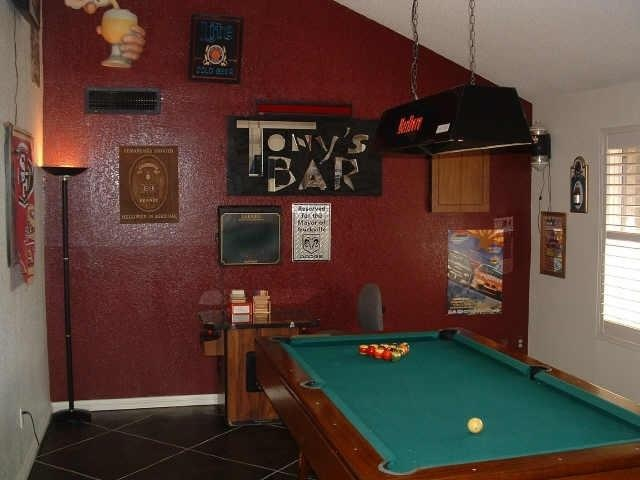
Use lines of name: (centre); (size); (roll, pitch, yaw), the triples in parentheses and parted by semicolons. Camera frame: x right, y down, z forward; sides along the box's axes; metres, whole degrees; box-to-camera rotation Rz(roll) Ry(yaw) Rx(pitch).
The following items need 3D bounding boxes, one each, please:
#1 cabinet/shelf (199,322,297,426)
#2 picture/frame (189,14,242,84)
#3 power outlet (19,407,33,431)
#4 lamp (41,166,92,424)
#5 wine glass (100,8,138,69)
cabinet/shelf: (-0.600, 1.107, 5.331); (1.203, 1.203, 0.871); (0, 3, -2)
picture/frame: (-1.113, -2.019, 5.391); (0.676, 0.801, 0.058); (2, 2, -11)
power outlet: (-2.447, 1.466, 4.242); (0.047, 0.167, 0.165); (5, 0, 11)
lamp: (-2.495, 0.522, 5.169); (0.444, 2.492, 0.638); (-4, 11, -21)
wine glass: (-1.906, -1.923, 4.883); (0.347, 0.537, 0.171); (-1, 10, -10)
